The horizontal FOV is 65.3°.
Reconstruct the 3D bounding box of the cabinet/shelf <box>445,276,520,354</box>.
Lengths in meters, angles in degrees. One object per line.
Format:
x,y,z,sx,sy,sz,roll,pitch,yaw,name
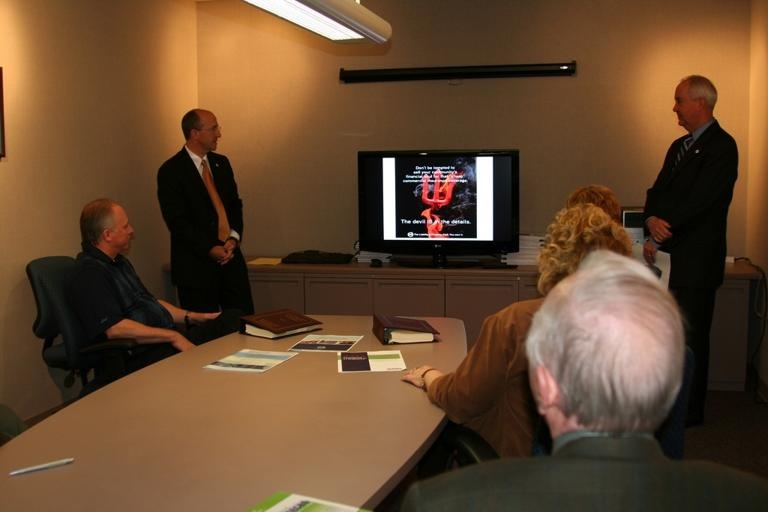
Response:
0.809,0.477,5.215,0.776,0.736,0.522,0,1,12,cabinet/shelf

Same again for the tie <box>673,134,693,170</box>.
2.100,-0.725,4.204,0.041,0.099,0.392,25,56,3,tie

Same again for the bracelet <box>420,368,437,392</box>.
0.189,0.517,2.519,0.040,0.081,0.062,21,-16,-25,bracelet

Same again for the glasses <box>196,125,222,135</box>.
-1.343,-0.971,4.639,0.058,0.092,0.188,11,19,37,glasses

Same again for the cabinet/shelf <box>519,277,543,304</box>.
1.202,0.257,5.076,0.270,0.255,0.193,-2,4,1,cabinet/shelf

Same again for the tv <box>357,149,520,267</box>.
0.503,-0.453,5.264,1.035,0.735,0.272,0,1,8,tv
